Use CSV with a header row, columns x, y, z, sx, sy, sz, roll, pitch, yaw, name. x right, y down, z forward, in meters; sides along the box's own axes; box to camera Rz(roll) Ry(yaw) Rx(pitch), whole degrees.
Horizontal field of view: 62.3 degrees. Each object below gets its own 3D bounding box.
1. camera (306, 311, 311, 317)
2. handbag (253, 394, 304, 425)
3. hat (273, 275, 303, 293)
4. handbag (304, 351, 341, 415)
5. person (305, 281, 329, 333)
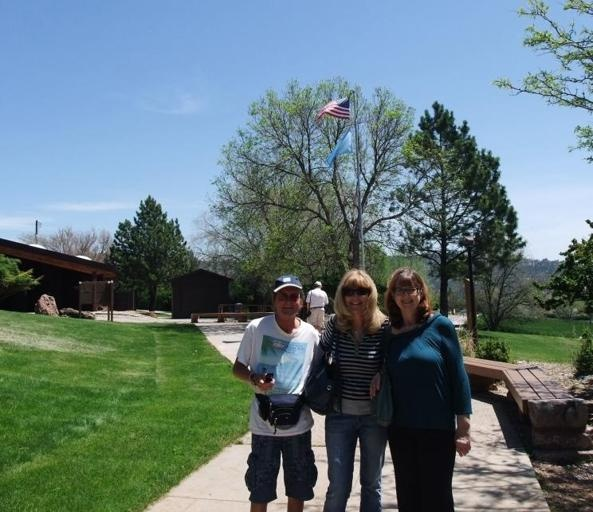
x,y,z,sx,sy,sz,roll,pitch,yaw,name
0.377,1.833,15.108,0.118,0.208,0.107,0,3,26,camera
-0.120,1.150,3.589,0.350,0.233,0.144,-3,-3,-1,handbag
-0.069,0.224,3.882,0.164,0.152,0.300,2,-11,-2,hat
0.210,0.970,3.729,0.178,0.428,0.284,13,10,0,handbag
0.601,1.648,15.039,0.588,1.923,0.549,-3,21,-12,person
